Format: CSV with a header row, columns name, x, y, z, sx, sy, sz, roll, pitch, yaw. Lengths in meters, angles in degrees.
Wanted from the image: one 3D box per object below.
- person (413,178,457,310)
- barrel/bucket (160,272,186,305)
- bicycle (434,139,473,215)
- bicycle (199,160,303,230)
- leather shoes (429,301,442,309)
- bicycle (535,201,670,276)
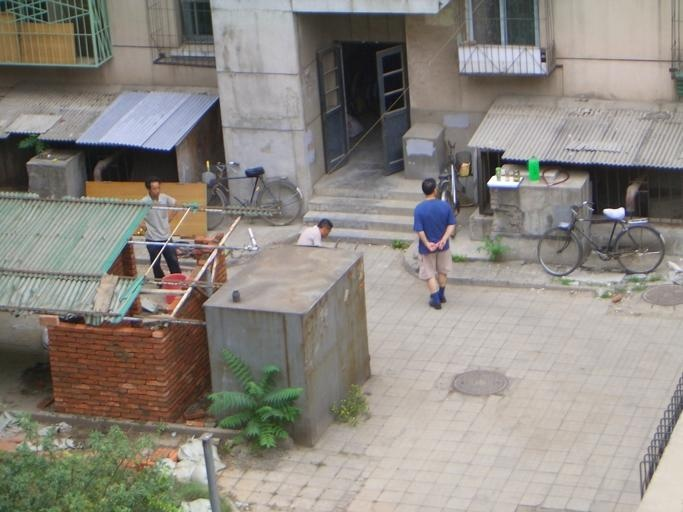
name,x,y,z,sx,sy,sz,roll,pitch,yaw
person,1.442,-0.070,19.449,0.649,1.856,0.475,-9,21,-15
barrel/bucket,-2.428,0.477,18.147,0.427,0.341,0.444,0,4,0
bicycle,2.054,-1.446,22.592,0.628,1.159,0.710,-1,-13,18
bicycle,-1.617,-1.070,22.922,2.221,1.229,0.925,10,29,13
leather shoes,1.486,0.773,19.714,0.091,0.085,0.183,-7,23,-18
bicycle,4.242,-0.255,20.221,2.340,1.399,0.965,4,21,10
